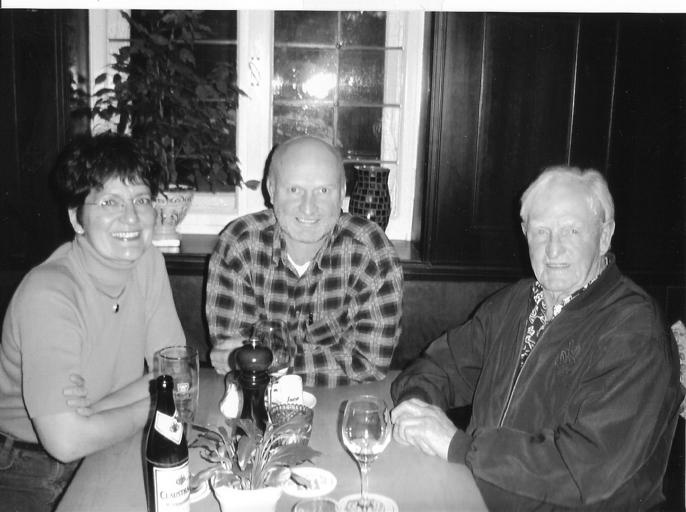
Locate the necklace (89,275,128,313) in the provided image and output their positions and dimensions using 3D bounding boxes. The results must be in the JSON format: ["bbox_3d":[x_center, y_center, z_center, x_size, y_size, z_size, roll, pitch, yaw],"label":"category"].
[{"bbox_3d":[-0.758,0.124,2.075,0.085,0.113,0.029,-20,12,-18],"label":"necklace"}]

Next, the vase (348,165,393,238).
[{"bbox_3d":[0.150,-0.284,3.306,0.199,0.304,0.195,-5,10,-36],"label":"vase"}]

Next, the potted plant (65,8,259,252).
[{"bbox_3d":[-0.923,-0.690,3.284,0.811,1.193,0.832,1,6,11],"label":"potted plant"}]

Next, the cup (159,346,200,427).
[{"bbox_3d":[-0.482,0.381,1.899,0.113,0.193,0.113,2,9,0],"label":"cup"}]
